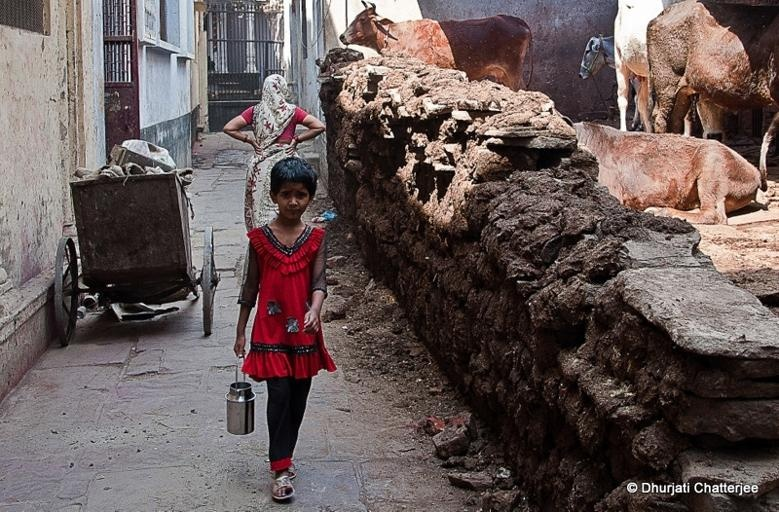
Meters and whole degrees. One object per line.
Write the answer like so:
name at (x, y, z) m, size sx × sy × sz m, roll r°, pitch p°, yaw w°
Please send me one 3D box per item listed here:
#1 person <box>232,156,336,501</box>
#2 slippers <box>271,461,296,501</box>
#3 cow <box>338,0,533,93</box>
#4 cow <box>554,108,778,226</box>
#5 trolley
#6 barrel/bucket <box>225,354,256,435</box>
person at (-0.670, 0.437, 4.269) m, size 0.608 × 2.065 × 0.645 m, roll -3°, pitch 12°, yaw -12°
slippers at (-0.671, 1.405, 4.276) m, size 0.156 × 0.173 × 0.280 m, roll -3°, pitch 12°, yaw -10°
cow at (1.281, -4.459, 14.550) m, size 4.278 × 1.718 × 1.001 m, roll -10°, pitch 15°, yaw -35°
cow at (3.486, -1.060, 9.077) m, size 2.998 × 1.201 × 1.069 m, roll 13°, pitch 10°, yaw 33°
trolley at (-2.520, -0.126, 6.993) m, size 1.415 × 1.643 × 2.496 m, roll -4°, pitch 6°, yaw -7°
barrel/bucket at (-0.938, 0.870, 4.306) m, size 0.204 × 0.501 × 0.201 m, roll -2°, pitch 7°, yaw 0°
